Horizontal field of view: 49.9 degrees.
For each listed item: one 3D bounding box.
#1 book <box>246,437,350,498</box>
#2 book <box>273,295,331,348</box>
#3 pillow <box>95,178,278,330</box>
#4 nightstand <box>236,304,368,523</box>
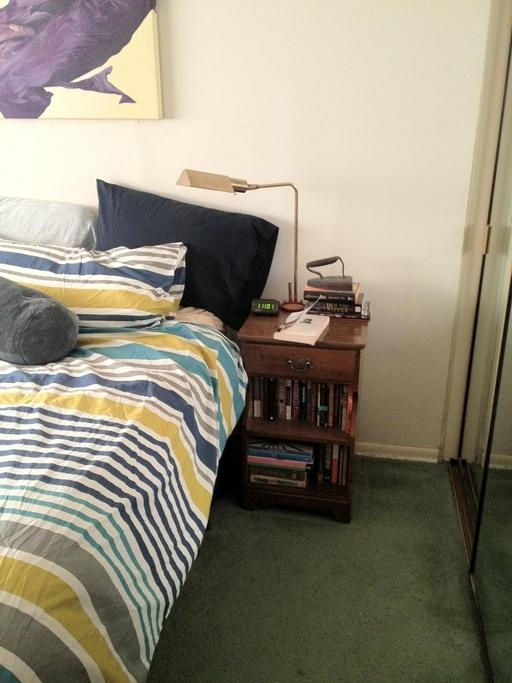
[{"bbox_3d":[0.135,0.406,1.838,0.305,0.165,0.188,3,-5,2],"label":"book"},{"bbox_3d":[0.147,-0.065,1.701,0.102,0.059,0.152,6,28,18],"label":"book"},{"bbox_3d":[-0.304,-0.312,2.005,0.654,0.424,0.231,14,0,-2],"label":"pillow"},{"bbox_3d":[0.151,0.255,1.820,0.353,0.550,0.313,2,4,6],"label":"nightstand"}]
